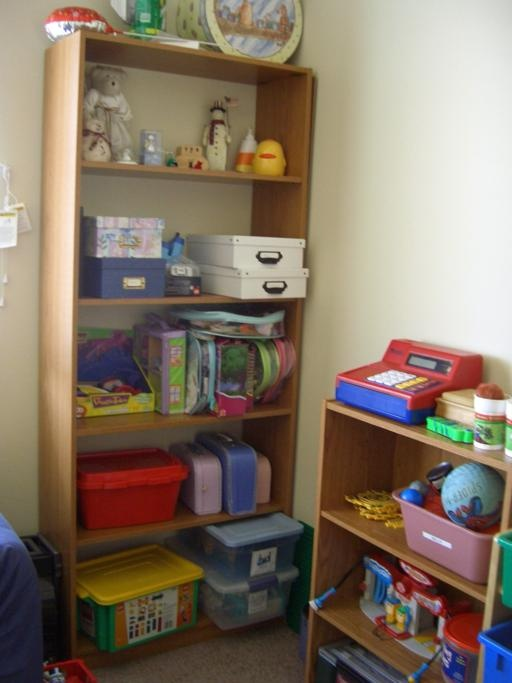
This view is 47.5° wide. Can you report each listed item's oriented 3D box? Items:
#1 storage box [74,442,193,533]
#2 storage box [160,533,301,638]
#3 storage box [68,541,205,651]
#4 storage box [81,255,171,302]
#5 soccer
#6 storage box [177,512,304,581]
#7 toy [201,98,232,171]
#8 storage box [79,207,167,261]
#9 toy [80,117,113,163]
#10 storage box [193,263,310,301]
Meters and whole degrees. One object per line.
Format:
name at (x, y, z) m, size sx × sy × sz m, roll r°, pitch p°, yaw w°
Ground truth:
storage box at (-0.398, 0.448, 1.815) m, size 0.272 × 0.140 × 0.220 m, roll 1°, pitch 1°, yaw -26°
storage box at (-0.083, 0.845, 2.071) m, size 0.310 × 0.157 × 0.442 m, roll -2°, pitch 0°, yaw -33°
storage box at (-0.370, 0.784, 1.826) m, size 0.301 × 0.145 × 0.244 m, roll 4°, pitch -2°, yaw -38°
storage box at (-0.411, -0.196, 1.728) m, size 0.284 × 0.120 × 0.281 m, roll 0°, pitch 9°, yaw -11°
soccer at (0.428, 0.307, 1.208) m, size 0.119 × 0.138 × 0.119 m, roll 0°, pitch -4°, yaw -25°
storage box at (-0.025, 0.681, 2.034) m, size 0.273 × 0.139 × 0.392 m, roll -3°, pitch 2°, yaw -17°
toy at (-0.132, -0.706, 1.988) m, size 0.096 × 0.215 × 0.059 m, roll 2°, pitch 14°, yaw 9°
storage box at (-0.349, -0.288, 1.725) m, size 0.233 × 0.119 × 0.239 m, roll 3°, pitch -1°, yaw -12°
toy at (-0.452, -0.580, 1.673) m, size 0.044 × 0.119 × 0.125 m, roll 3°, pitch 12°, yaw 16°
storage box at (0.005, -0.189, 1.863) m, size 0.365 × 0.102 × 0.227 m, roll -1°, pitch 11°, yaw -5°
